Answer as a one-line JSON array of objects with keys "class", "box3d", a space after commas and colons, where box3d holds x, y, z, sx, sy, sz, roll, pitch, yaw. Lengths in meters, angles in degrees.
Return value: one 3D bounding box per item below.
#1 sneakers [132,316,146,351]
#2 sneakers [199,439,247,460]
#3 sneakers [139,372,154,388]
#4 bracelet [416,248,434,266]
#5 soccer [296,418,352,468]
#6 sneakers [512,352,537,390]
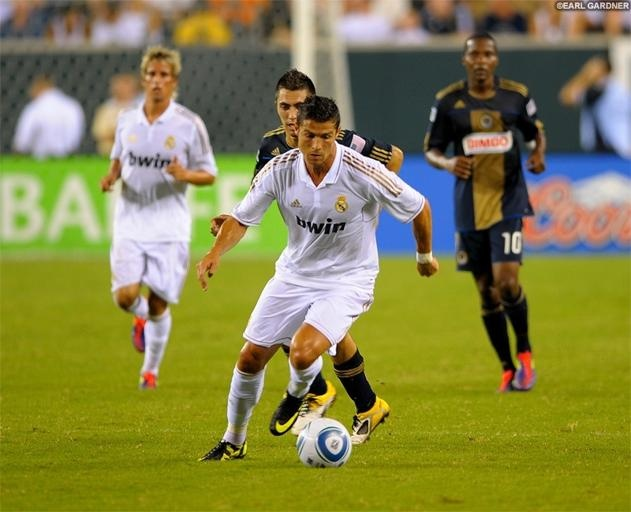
[{"class": "sneakers", "box3d": [-1.556, 0.680, 9.195, 0.106, 0.340, 0.127, -2, 9, -6]}, {"class": "sneakers", "box3d": [-0.633, 1.319, 7.086, 0.332, 0.170, 0.120, 2, -7, -12]}, {"class": "sneakers", "box3d": [-1.426, 1.051, 8.821, 0.131, 0.130, 0.097, -2, 8, -10]}, {"class": "bracelet", "box3d": [0.754, 0.013, 7.177, 0.082, 0.066, 0.088, -3, 8, -3]}, {"class": "soccer", "box3d": [0.053, 1.246, 6.886, 0.284, 0.302, 0.315, 6, 42, 8]}, {"class": "sneakers", "box3d": [1.723, 0.977, 8.647, 0.129, 0.375, 0.159, 0, -9, 20]}]
